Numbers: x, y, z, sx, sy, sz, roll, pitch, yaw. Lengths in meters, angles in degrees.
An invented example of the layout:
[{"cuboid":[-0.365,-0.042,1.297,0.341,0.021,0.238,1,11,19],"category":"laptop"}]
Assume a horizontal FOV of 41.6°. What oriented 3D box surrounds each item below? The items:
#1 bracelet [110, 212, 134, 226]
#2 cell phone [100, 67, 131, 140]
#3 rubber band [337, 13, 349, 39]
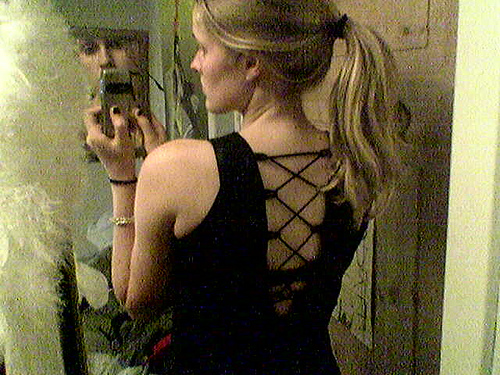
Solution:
[{"cuboid":[-0.409,0.100,2.110,0.077,0.035,0.024,6,24,20],"category":"bracelet"},{"cuboid":[-0.414,-0.276,2.117,0.110,0.030,0.310,-2,60,-9],"category":"cell phone"},{"cuboid":[0.289,-0.522,2.112,0.017,0.067,0.045,2,-15,28],"category":"rubber band"}]
